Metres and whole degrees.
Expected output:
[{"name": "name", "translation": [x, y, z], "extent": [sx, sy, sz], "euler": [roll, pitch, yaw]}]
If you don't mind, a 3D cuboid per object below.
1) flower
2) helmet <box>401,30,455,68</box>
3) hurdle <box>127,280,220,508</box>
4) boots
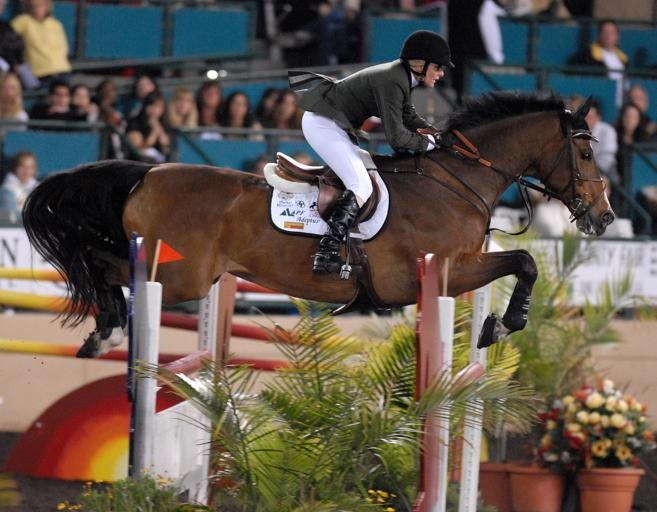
[{"name": "flower", "translation": [1.706, 1.124, 9.662], "extent": [0.675, 0.518, 0.674], "euler": [-16, -15, 31]}, {"name": "helmet", "translation": [0.640, -1.336, 9.538], "extent": [0.331, 0.160, 0.223], "euler": [1, 7, 10]}, {"name": "hurdle", "translation": [-0.959, 0.853, 9.100], "extent": [0.465, 1.385, 0.831], "euler": [1, -2, -3]}, {"name": "boots", "translation": [0.050, -0.151, 9.514], "extent": [0.292, 0.537, 0.151], "euler": [1, -2, -1]}]
